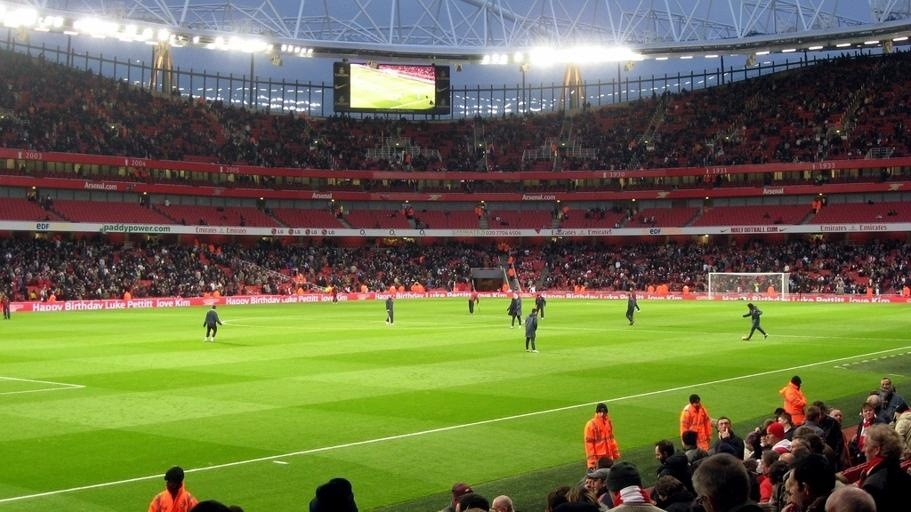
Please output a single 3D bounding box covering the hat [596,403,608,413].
[{"bbox_3d":[10.226,10.684,82.739,0.926,0.784,0.707,0,7,20],"label":"hat"}]
